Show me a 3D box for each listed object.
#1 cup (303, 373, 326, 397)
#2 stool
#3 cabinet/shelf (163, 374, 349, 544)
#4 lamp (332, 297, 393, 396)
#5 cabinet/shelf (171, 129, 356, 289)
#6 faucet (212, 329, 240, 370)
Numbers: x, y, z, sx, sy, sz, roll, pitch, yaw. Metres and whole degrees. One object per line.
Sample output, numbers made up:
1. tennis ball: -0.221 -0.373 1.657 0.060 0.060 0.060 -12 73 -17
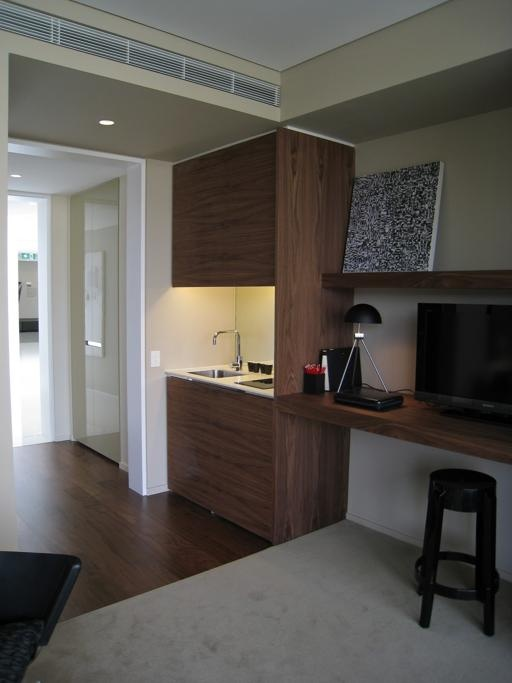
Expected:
1. cup: 0.320 0.234 2.812 0.098 0.149 0.131 -4 7 -36
2. stool: 0.843 0.861 2.050 0.317 0.581 0.346 0 3 -14
3. cabinet/shelf: -0.107 0.649 3.325 1.075 0.911 0.602 5 6 44
4. lamp: 0.539 0.036 2.537 0.226 0.458 0.211 1 0 4
5. cabinet/shelf: -0.072 -0.826 3.235 1.013 0.859 0.558 7 12 41
6. faucet: -0.227 0.061 3.779 0.223 0.308 0.447 0 1 -4
